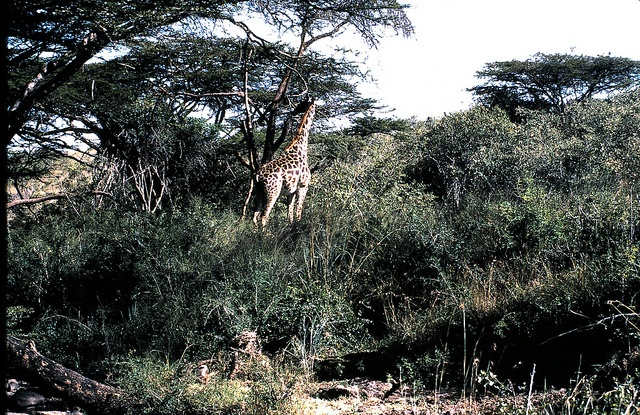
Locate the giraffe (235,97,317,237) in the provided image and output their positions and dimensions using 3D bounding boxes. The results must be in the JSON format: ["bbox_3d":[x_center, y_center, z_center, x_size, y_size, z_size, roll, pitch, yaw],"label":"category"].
[{"bbox_3d":[-0.753,-0.967,13.503,1.211,3.165,0.967,10,-15,-18],"label":"giraffe"}]
